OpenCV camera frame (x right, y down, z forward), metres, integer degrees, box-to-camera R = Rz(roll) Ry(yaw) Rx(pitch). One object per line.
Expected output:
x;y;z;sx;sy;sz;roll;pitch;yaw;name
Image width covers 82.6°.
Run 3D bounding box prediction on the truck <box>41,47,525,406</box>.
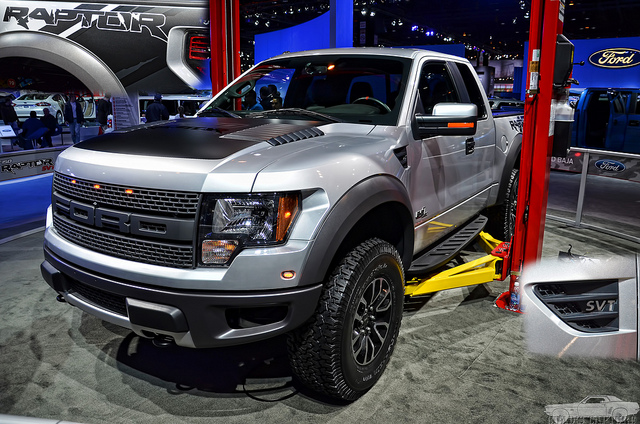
0.393;-0.668;4.614;3.600;2.201;5.945;14;25;33;truck
